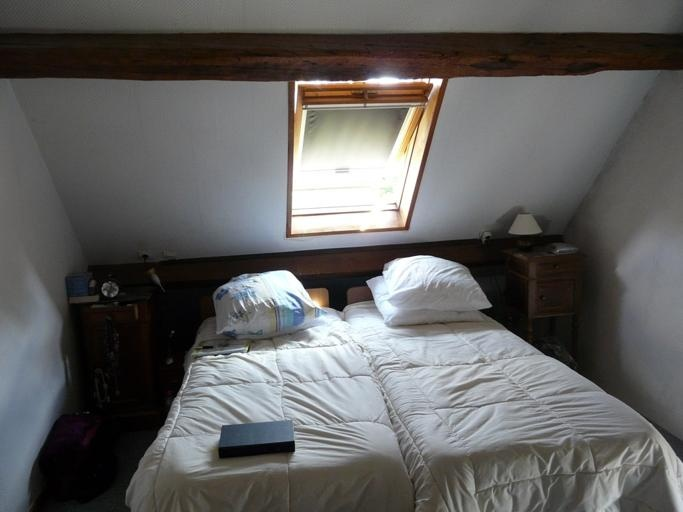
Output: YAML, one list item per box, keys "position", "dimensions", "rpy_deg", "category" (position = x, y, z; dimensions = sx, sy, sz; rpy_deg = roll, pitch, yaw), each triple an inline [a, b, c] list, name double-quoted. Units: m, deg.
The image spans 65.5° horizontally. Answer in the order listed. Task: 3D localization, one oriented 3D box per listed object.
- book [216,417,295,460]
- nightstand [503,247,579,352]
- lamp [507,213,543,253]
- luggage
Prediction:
- position: [-0.378, 0.821, 2.436]
  dimensions: [0.268, 0.057, 0.139]
  rpy_deg: [-2, 22, -8]
  category: "book"
- position: [1.511, 0.339, 4.015]
  dimensions: [0.550, 0.750, 0.486]
  rpy_deg: [-7, 10, -24]
  category: "nightstand"
- position: [1.380, -0.175, 4.008]
  dimensions: [0.287, 0.300, 0.278]
  rpy_deg: [-8, 6, 23]
  category: "lamp"
- position: [-1.591, 1.127, 3.196]
  dimensions: [0.369, 0.293, 0.591]
  rpy_deg: [4, 7, -12]
  category: "luggage"
